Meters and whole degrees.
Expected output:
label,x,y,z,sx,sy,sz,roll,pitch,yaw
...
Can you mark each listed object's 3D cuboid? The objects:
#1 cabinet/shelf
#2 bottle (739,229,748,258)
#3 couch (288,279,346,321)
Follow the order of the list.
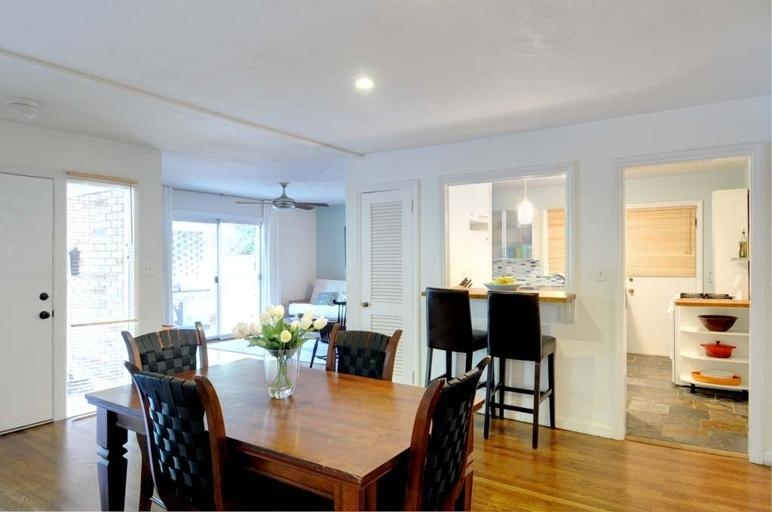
label,x,y,z,sx,sy,sz,roll,pitch,yaw
cabinet/shelf,3.830,1.088,6.034,1.054,0.962,0.580,-2,-5,41
bottle,4.530,-0.152,6.544,0.091,0.336,0.202,7,13,30
couch,-1.271,0.844,10.114,1.244,0.802,0.767,-6,-11,43
